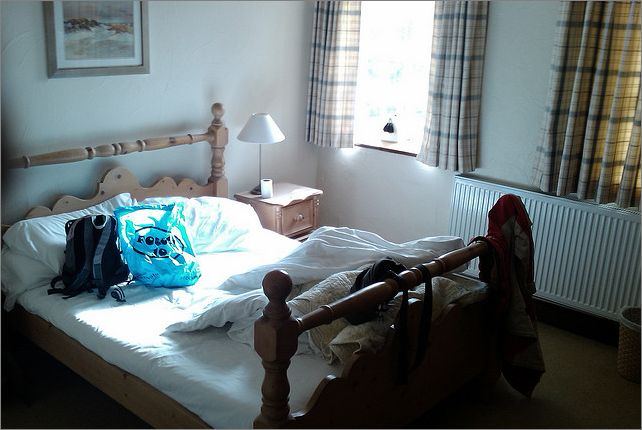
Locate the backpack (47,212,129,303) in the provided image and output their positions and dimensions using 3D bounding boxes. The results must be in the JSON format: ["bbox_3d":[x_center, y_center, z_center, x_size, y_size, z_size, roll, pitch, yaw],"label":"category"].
[{"bbox_3d":[-1.417,0.282,2.773,0.460,0.468,0.261,-1,8,-16],"label":"backpack"}]

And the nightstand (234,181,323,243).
[{"bbox_3d":[-0.393,-0.128,4.144,0.538,0.565,0.551,16,26,35],"label":"nightstand"}]

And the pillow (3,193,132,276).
[{"bbox_3d":[-1.646,0.074,2.942,0.359,0.176,0.562,29,40,27],"label":"pillow"}]

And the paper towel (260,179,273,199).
[{"bbox_3d":[-0.470,-0.231,3.968,0.141,0.166,0.144,0,16,0],"label":"paper towel"}]
